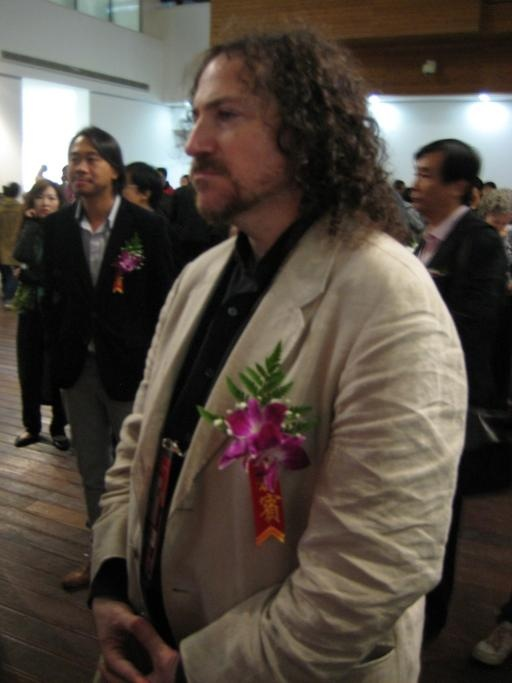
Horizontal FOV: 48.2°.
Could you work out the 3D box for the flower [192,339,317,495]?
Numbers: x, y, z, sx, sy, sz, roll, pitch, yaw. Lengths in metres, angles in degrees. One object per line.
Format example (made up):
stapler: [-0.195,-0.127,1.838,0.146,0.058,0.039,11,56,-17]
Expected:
flower: [0.001,0.095,0.747,0.141,0.188,0.146,1,13,5]

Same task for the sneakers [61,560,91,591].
sneakers: [-0.790,1.032,2.517,0.071,0.052,0.127,22,18,23]
